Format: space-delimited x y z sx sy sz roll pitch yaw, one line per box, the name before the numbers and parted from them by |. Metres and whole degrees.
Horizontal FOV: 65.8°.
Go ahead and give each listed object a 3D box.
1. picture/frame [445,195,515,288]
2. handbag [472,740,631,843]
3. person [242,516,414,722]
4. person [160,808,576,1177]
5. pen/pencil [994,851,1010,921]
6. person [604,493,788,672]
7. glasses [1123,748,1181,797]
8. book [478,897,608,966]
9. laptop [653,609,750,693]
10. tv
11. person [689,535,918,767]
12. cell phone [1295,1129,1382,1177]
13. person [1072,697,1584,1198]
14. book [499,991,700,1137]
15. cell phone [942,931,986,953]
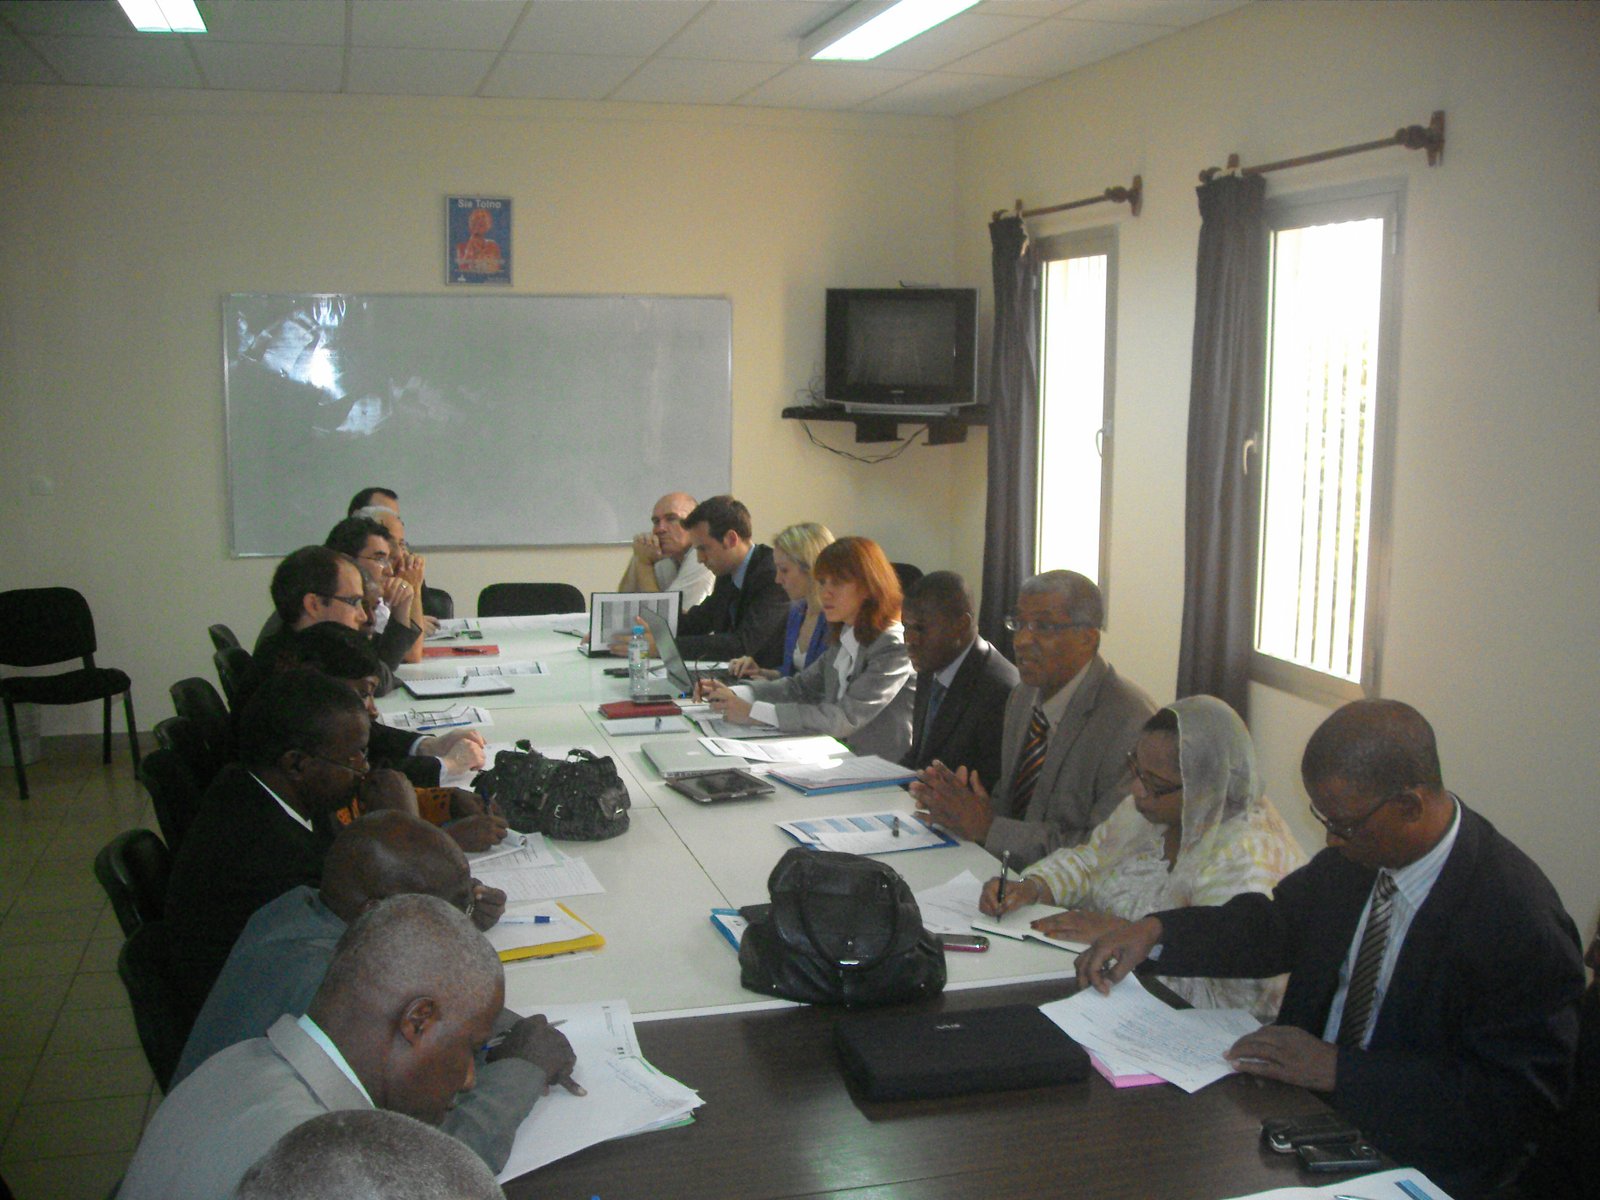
picture/frame | -1.848 -2.071 7.089 0.494 0.676 0.085 2 11 -11
handbag | -0.666 0.541 3.392 0.402 0.203 0.235 0 -3 29
person | -1.784 0.070 4.754 0.583 0.964 0.412 9 0 -32
person | -0.833 0.641 2.343 0.601 0.929 0.577 -6 17 -25
pen/pencil | 0.494 0.688 2.989 0.028 0.251 0.027 2 -17 3
person | -0.608 -0.094 5.794 0.821 0.907 0.674 0 -3 -27
glasses | 0.821 0.409 2.890 0.097 0.032 0.093 7 22 -24
book | -0.571 0.739 2.740 0.200 0.031 0.185 1 12 -25
laptop | -0.426 0.205 4.954 0.266 0.224 0.311 2 4 -19
tv | 0.654 -1.307 7.533 1.108 0.821 0.641 0 4 3
person | 0.095 0.196 5.193 0.924 1.481 0.641 1 1 -15
cell phone | 0.911 0.939 2.100 0.068 0.022 0.071 -4 5 1
person | 1.263 0.677 3.027 0.980 1.646 0.883 -3 10 -5
book | -0.371 0.867 2.289 0.293 0.054 0.295 0 12 -18
cell phone | 0.376 0.772 2.802 0.113 0.024 0.071 3 9 9
